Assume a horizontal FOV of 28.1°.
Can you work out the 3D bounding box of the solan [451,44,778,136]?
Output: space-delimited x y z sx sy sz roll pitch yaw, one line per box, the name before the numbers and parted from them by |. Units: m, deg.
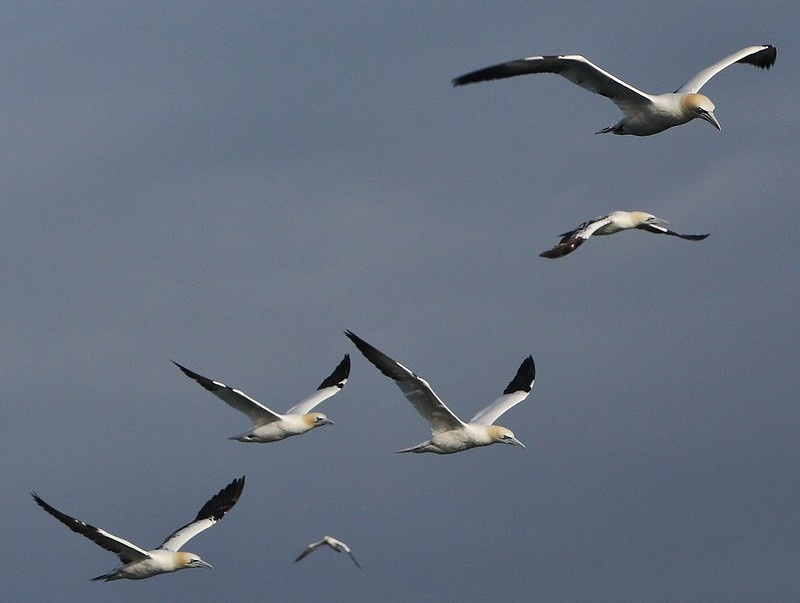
solan | 1.107 -1.060 8.057 1.562 0.321 0.779 2 4 -31
